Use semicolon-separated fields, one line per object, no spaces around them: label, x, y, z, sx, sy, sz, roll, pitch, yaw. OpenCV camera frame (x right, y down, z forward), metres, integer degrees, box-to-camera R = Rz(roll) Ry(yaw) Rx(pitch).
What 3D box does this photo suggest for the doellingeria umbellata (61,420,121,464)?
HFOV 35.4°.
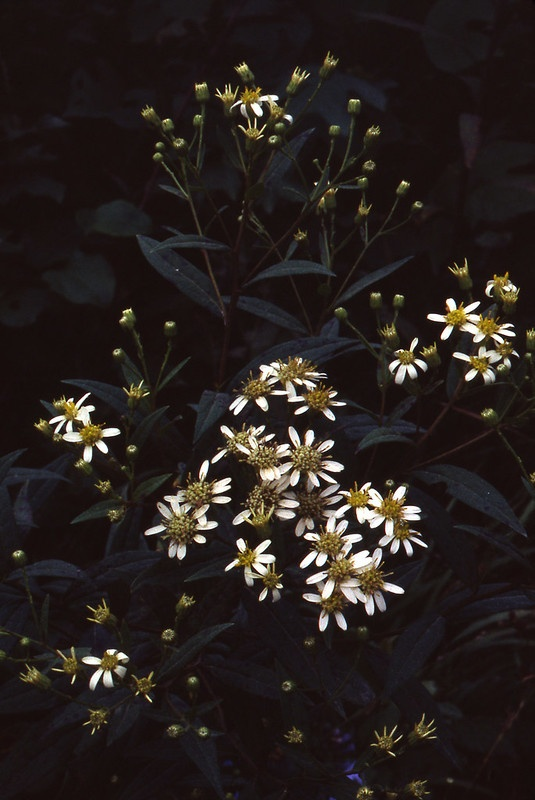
doellingeria umbellata;-0.271;0.063;1.332;0.076;0.027;0.073;-28;79;-12
